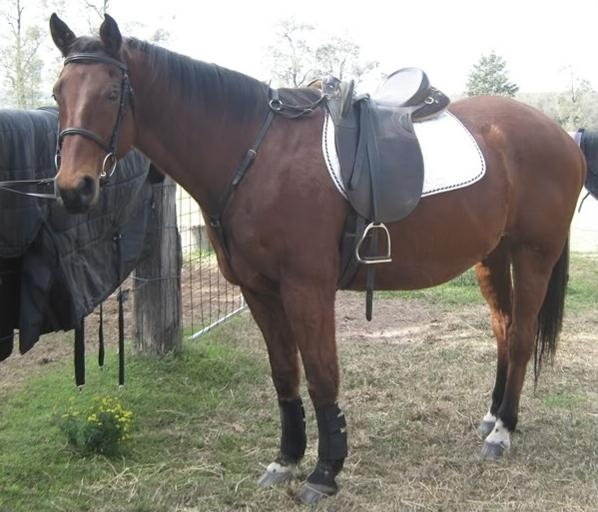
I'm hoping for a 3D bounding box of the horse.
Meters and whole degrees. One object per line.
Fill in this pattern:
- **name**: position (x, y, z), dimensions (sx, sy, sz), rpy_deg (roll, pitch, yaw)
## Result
- **horse**: position (0.060, 0.258, 4.249), dimensions (2.834, 2.775, 1.032), rpy_deg (-4, 8, -15)
